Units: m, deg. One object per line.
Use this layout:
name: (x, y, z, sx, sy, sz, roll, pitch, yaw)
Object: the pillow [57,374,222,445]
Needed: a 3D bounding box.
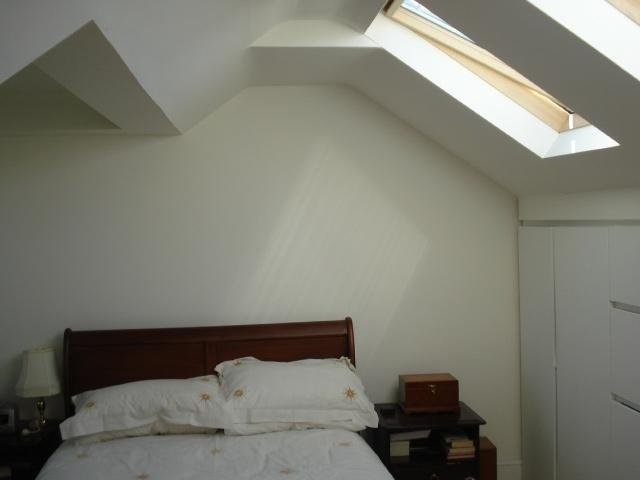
pillow: (-1.024, 0.987, 3.143, 0.601, 0.174, 0.483, -2, 14, -4)
